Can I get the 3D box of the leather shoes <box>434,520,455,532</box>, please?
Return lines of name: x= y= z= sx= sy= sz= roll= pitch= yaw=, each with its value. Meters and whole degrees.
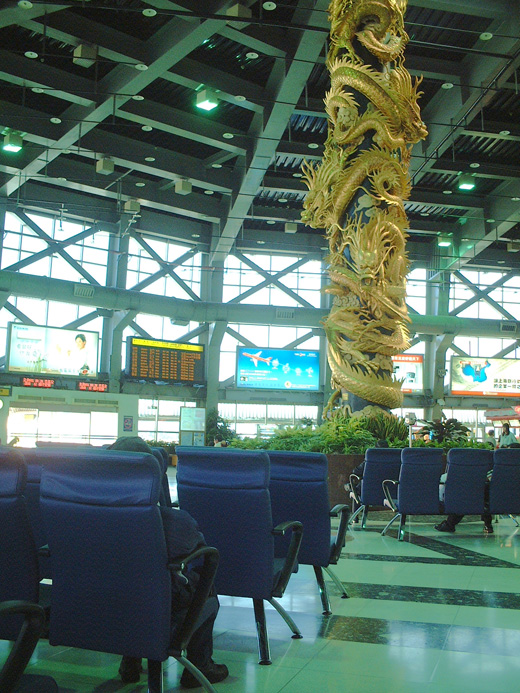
leather shoes: x=1.866 y=1.826 z=6.977 sx=0.087 sy=0.084 sz=0.219 roll=2 pitch=-3 yaw=-9

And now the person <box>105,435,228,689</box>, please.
person: x=-0.332 y=0.817 z=2.596 sx=0.476 sy=0.920 sz=0.961 roll=2 pitch=-4 yaw=-12
